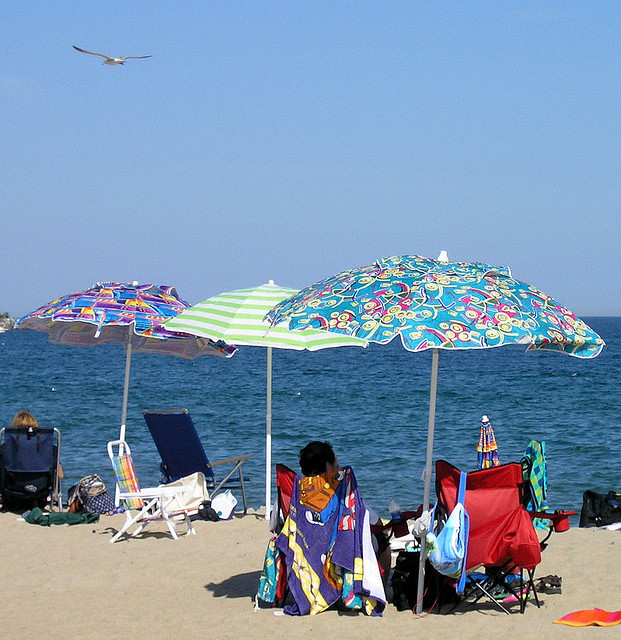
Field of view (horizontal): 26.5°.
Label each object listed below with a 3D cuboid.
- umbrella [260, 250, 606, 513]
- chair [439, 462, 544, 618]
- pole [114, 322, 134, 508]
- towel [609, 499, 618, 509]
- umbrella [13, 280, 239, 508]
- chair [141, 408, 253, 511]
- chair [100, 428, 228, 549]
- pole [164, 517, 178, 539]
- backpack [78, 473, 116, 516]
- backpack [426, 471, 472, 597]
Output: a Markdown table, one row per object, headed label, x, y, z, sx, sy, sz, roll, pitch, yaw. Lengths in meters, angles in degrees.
| label | x | y | z | sx | sy | sz | roll | pitch | yaw |
| --- | --- | --- | --- | --- | --- | --- | --- | --- | --- |
| umbrella | 1.006 | 0.572 | 10.194 | 2.532 | 1.951 | 2.456 | 4 | 2 | 16 |
| chair | 1.316 | 1.680 | 9.983 | 0.903 | 1.154 | 0.913 | 3 | -12 | -7 |
| pole | -3.047 | 1.505 | 21.557 | 0.334 | 2.244 | 0.442 | -4 | 5 | -34 |
| towel | 3.207 | 1.947 | 13.953 | 0.091 | 0.092 | 0.132 | 1 | -5 | -12 |
| umbrella | -1.896 | 0.812 | 13.262 | 2.285 | 2.339 | 2.157 | 1 | -5 | 28 |
| chair | -0.908 | 1.507 | 13.489 | 0.760 | 0.881 | 0.623 | 1 | -1 | -16 |
| chair | -1.454 | 1.655 | 12.441 | 0.892 | 0.811 | 0.573 | 2 | 4 | 11 |
| pole | -1.280 | 1.918 | 12.084 | 0.039 | 0.251 | 0.067 | -20 | 6 | 44 |
| backpack | -2.228 | 1.842 | 13.539 | 0.253 | 0.451 | 0.364 | 0 | 9 | 27 |
| backpack | 1.121 | 1.475 | 9.685 | 0.338 | 0.777 | 0.230 | -24 | 27 | -34 |
